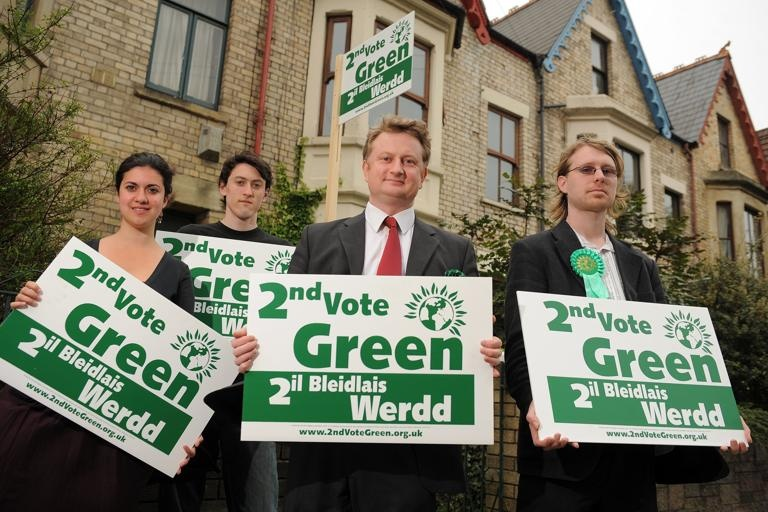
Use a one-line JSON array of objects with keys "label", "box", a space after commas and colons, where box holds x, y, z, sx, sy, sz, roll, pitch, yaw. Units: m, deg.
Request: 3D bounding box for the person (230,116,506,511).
[{"label": "person", "box": [-0.010, 0.381, 4.806, 1.436, 2.806, 0.833, 6, -24, -8]}]
